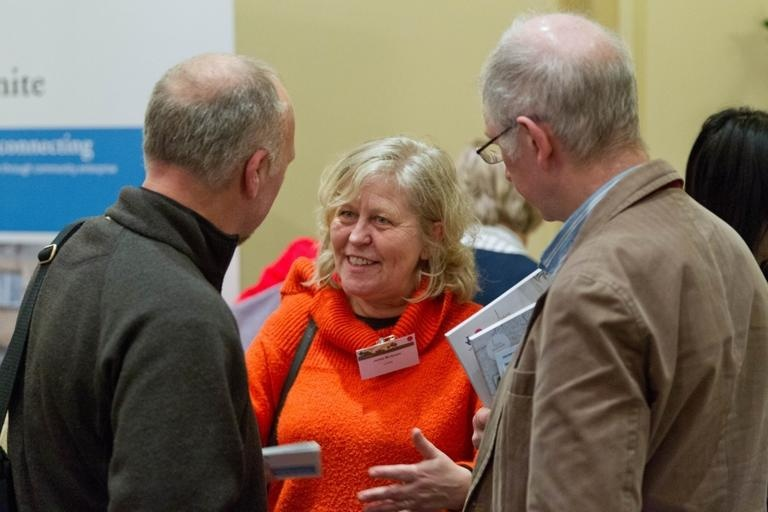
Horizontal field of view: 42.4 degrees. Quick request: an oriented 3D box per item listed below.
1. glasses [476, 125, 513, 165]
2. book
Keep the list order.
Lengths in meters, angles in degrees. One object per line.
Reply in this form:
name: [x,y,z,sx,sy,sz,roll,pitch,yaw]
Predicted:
glasses: [0.381,-0.385,3.476,0.031,0.107,0.102,39,-6,2]
book: [0.382,0.290,3.502,0.442,0.445,0.104,-37,47,-22]
